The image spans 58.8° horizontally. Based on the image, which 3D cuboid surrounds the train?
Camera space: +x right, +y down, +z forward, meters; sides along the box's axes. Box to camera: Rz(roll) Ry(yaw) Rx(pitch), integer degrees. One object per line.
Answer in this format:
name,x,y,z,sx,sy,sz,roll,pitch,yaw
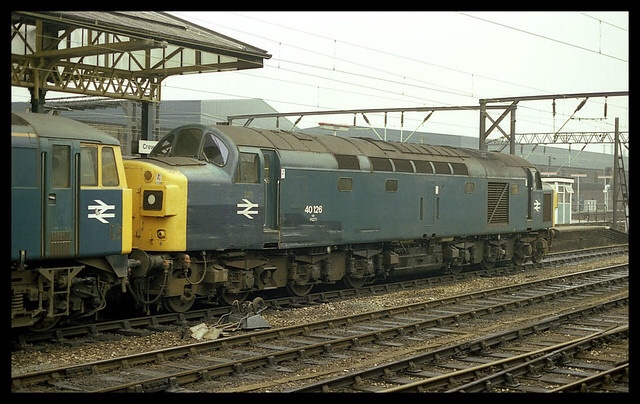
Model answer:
train,2.741,0.373,23.388,29.426,5.479,4.625,1,0,-41
